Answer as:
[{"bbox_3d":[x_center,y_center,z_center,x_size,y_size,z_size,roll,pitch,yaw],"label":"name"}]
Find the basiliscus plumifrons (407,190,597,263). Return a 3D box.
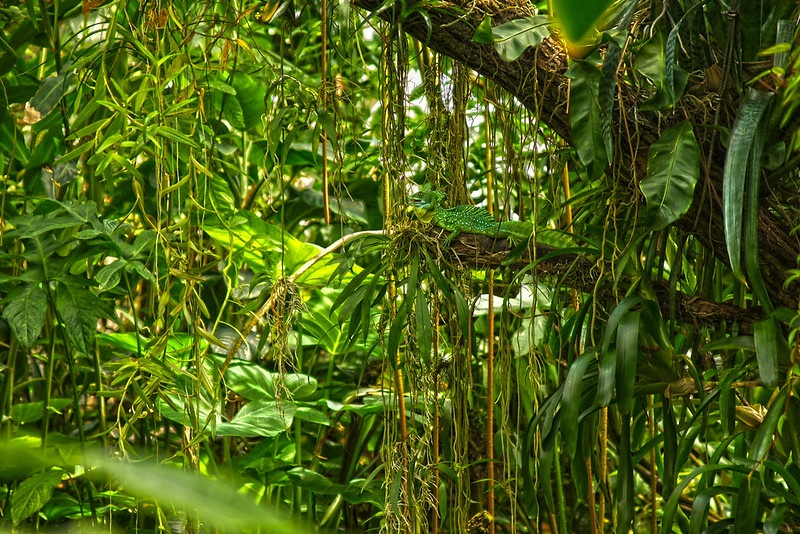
[{"bbox_3d":[0.298,-0.115,3.249,0.297,0.108,0.106,19,-32,12],"label":"basiliscus plumifrons"}]
